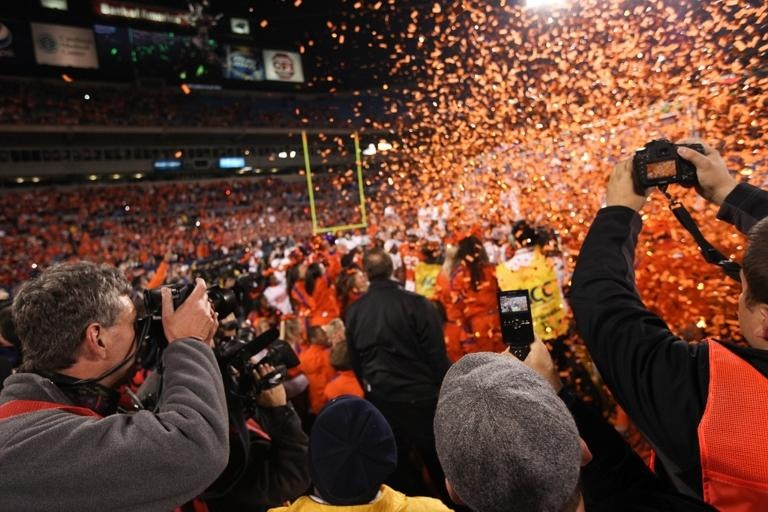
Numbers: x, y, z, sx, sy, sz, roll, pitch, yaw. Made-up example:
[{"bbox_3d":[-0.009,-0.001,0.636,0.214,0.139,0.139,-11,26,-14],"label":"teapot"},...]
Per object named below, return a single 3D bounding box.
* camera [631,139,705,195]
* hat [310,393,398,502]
[{"bbox_3d":[1.010,-0.331,1.870,0.292,0.203,0.182,1,9,-10],"label":"camera"},{"bbox_3d":[-0.126,0.746,1.875,0.299,0.372,0.122,0,-30,-13],"label":"hat"}]
